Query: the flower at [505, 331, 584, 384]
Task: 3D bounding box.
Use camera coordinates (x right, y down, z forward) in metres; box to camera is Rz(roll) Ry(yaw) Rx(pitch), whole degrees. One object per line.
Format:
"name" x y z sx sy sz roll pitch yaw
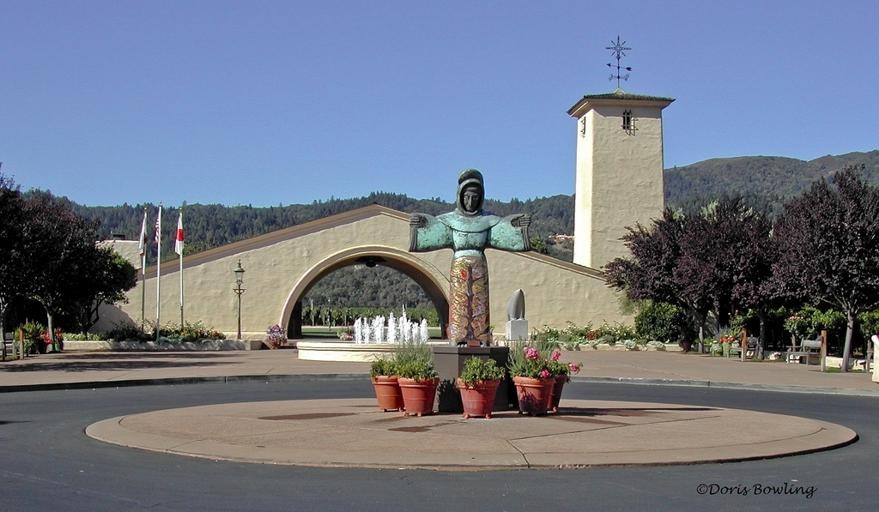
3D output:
"flower" 2.648 2.826 24.657 1.457 0.967 1.415 3 -10 -9

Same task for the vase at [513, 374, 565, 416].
"vase" 2.638 3.764 24.381 1.117 0.801 1.105 0 -4 5

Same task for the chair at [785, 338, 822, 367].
"chair" 16.959 4.559 42.180 0.546 0.816 1.298 7 -10 -28
